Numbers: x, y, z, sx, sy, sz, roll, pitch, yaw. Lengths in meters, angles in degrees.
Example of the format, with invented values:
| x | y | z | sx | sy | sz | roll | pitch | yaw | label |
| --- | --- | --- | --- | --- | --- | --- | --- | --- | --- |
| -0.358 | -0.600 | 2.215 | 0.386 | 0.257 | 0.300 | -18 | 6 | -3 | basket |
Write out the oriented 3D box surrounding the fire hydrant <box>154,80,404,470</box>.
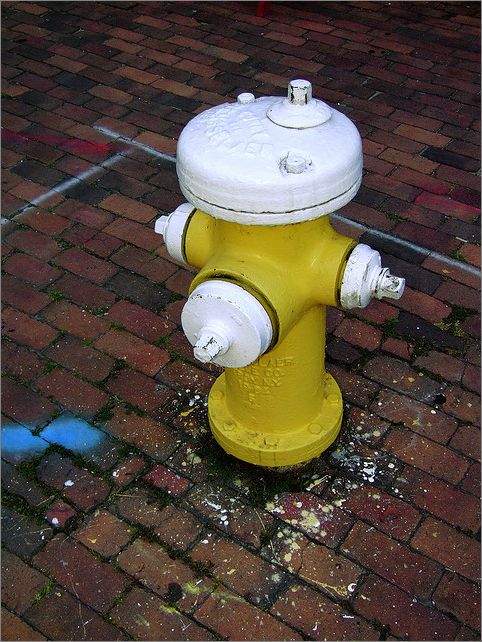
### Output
| x | y | z | sx | sy | sz | roll | pitch | yaw | label |
| --- | --- | --- | --- | --- | --- | --- | --- | --- | --- |
| 0.120 | -0.038 | 2.087 | 0.658 | 1.442 | 0.635 | -10 | 35 | -9 | fire hydrant |
